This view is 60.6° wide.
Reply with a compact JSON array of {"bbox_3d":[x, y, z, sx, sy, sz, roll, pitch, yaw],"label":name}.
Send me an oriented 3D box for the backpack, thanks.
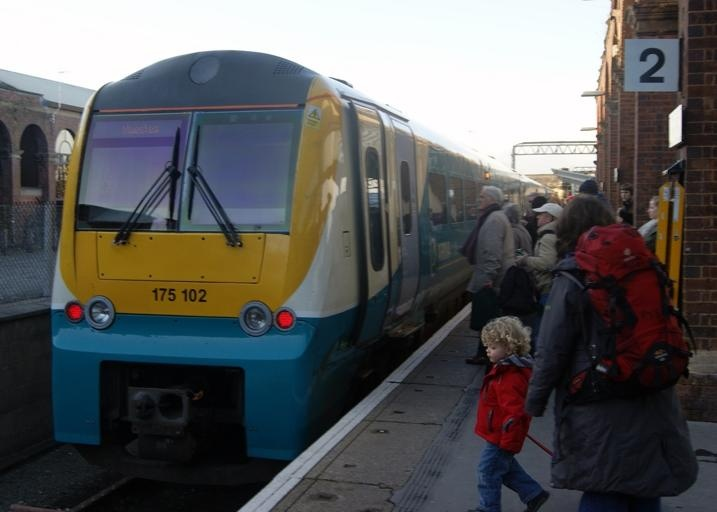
[{"bbox_3d":[1.337,0.312,3.130,0.614,0.914,0.323,3,7,27],"label":"backpack"}]
